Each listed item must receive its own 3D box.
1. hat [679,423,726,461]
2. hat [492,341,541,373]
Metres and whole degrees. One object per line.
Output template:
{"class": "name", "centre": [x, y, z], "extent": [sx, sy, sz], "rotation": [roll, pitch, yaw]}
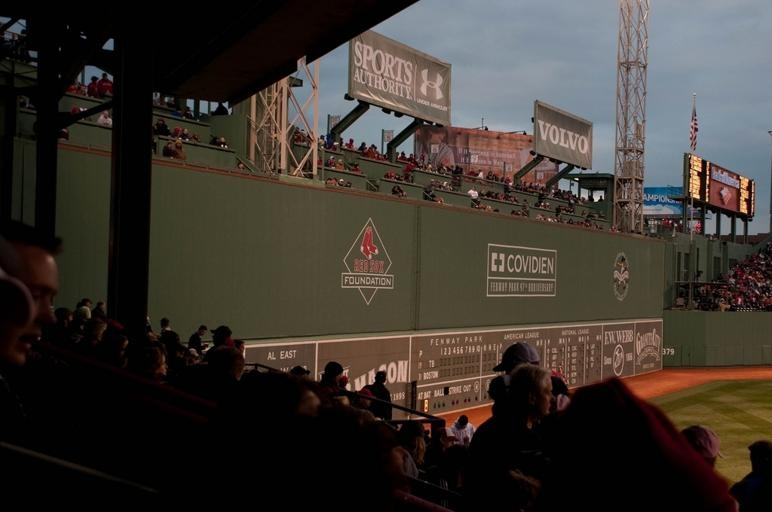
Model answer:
{"class": "hat", "centre": [4.013, 2.353, 12.222], "extent": [0.431, 0.360, 0.617], "rotation": [30, 4, 34]}
{"class": "hat", "centre": [1.698, 1.316, 12.605], "extent": [0.552, 0.334, 0.419], "rotation": [-3, -5, 16]}
